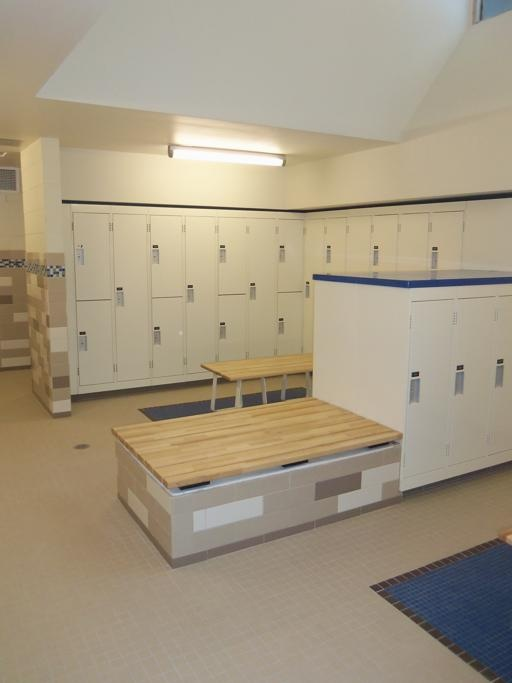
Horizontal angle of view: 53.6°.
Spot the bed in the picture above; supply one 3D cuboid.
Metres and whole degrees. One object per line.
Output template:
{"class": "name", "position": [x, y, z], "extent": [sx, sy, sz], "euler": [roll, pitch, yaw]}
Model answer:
{"class": "bed", "position": [0.019, 0.843, 3.327], "extent": [1.616, 0.553, 0.959], "euler": [-2, 6, -30]}
